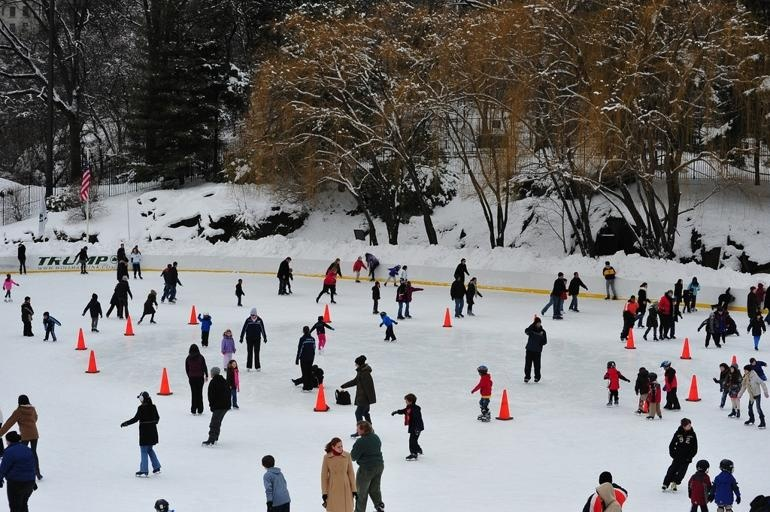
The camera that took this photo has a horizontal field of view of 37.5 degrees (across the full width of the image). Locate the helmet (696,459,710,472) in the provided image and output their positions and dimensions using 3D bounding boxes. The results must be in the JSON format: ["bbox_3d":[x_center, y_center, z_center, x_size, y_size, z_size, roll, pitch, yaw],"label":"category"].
[{"bbox_3d":[9.560,6.240,33.894,0.256,0.333,0.355,5,26,36],"label":"helmet"}]

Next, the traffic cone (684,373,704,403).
[{"bbox_3d":[11.050,4.720,40.685,0.733,1.177,0.825,-3,4,-7],"label":"traffic cone"}]

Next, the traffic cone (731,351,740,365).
[{"bbox_3d":[13.422,3.878,43.129,0.339,0.422,0.338,-3,4,43],"label":"traffic cone"}]

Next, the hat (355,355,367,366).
[{"bbox_3d":[-0.810,3.422,37.246,0.322,0.392,0.594,0,3,-2],"label":"hat"}]

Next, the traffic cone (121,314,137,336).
[{"bbox_3d":[-10.780,2.916,47.610,0.694,1.116,0.709,0,-2,-31],"label":"traffic cone"}]

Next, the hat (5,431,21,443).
[{"bbox_3d":[-11.055,5.291,33.497,0.264,0.304,0.358,3,9,-13],"label":"hat"}]

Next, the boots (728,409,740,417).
[{"bbox_3d":[12.048,5.405,39.005,0.434,0.349,0.159,2,-2,7],"label":"boots"}]

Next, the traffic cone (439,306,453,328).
[{"bbox_3d":[2.680,2.652,49.082,0.574,0.927,0.626,-1,4,0],"label":"traffic cone"}]

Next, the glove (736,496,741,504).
[{"bbox_3d":[10.549,7.182,33.663,0.132,0.197,0.463,-3,14,19],"label":"glove"}]

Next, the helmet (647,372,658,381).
[{"bbox_3d":[9.228,4.124,38.823,0.284,0.321,0.242,-2,7,28],"label":"helmet"}]

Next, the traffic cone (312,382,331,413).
[{"bbox_3d":[-2.248,4.918,39.827,0.559,0.938,0.845,0,3,-4],"label":"traffic cone"}]

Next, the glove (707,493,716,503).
[{"bbox_3d":[9.823,7.211,33.871,0.174,0.287,0.361,1,3,18],"label":"glove"}]

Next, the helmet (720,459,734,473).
[{"bbox_3d":[10.231,6.185,33.685,0.341,0.451,0.441,1,1,28],"label":"helmet"}]

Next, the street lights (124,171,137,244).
[{"bbox_3d":[-17.337,-3.177,76.636,0.896,1.003,5.180,7,32,-21],"label":"street lights"}]

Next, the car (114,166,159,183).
[{"bbox_3d":[-17.756,-5.757,80.349,2.220,1.240,2.274,0,-2,-31],"label":"car"}]

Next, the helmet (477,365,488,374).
[{"bbox_3d":[3.286,3.884,38.322,0.328,0.320,0.322,-4,4,30],"label":"helmet"}]

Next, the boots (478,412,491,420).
[{"bbox_3d":[3.428,5.489,38.958,0.349,0.202,0.241,2,13,12],"label":"boots"}]

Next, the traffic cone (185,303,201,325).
[{"bbox_3d":[-8.375,2.532,49.804,0.650,0.985,0.649,8,9,42],"label":"traffic cone"}]

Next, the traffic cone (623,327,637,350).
[{"bbox_3d":[9.907,3.282,45.524,0.620,1.051,0.669,0,7,10],"label":"traffic cone"}]

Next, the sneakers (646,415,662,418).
[{"bbox_3d":[9.362,5.505,39.034,0.547,0.134,0.232,0,3,-11],"label":"sneakers"}]

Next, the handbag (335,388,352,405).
[{"bbox_3d":[-1.458,4.998,40.407,0.560,0.664,0.397,1,3,19],"label":"handbag"}]

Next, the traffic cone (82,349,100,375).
[{"bbox_3d":[-11.219,3.937,43.036,0.724,1.137,0.663,-8,13,-41],"label":"traffic cone"}]

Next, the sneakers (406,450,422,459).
[{"bbox_3d":[0.940,6.416,36.662,0.492,0.248,0.214,-1,8,-5],"label":"sneakers"}]
